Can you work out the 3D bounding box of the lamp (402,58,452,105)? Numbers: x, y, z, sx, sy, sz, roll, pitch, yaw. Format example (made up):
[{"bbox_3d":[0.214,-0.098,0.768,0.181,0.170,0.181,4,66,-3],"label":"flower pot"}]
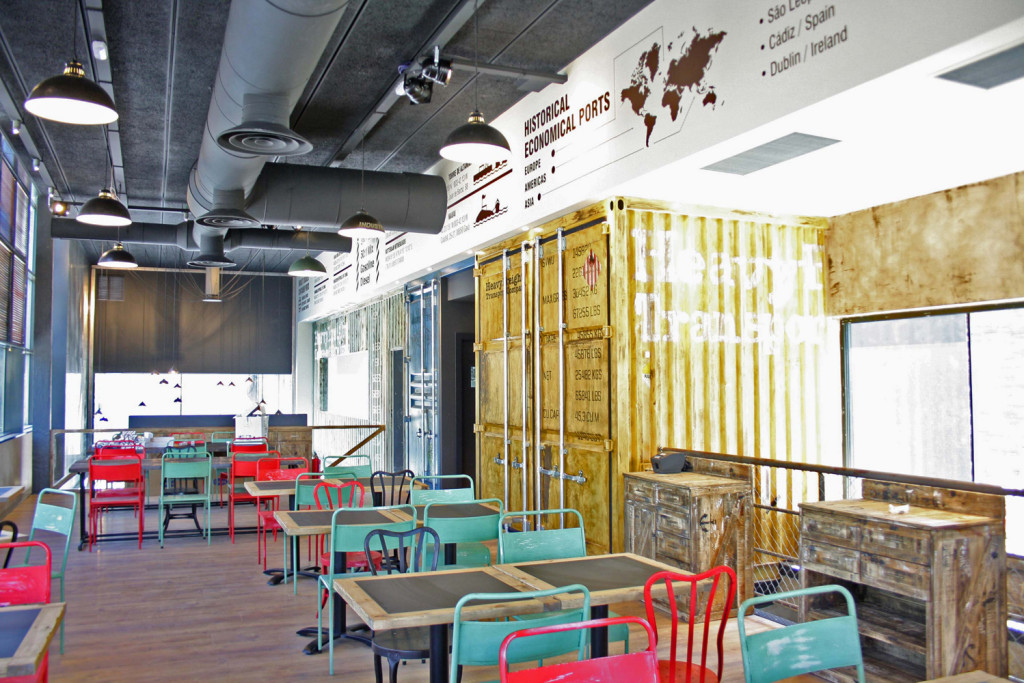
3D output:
[{"bbox_3d":[-0.852,-2.740,7.125,0.463,0.200,0.372,3,-8,-5],"label":"lamp"}]

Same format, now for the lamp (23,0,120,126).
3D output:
[{"bbox_3d":[-3.203,-1.900,5.087,0.459,0.513,0.450,-3,-6,33],"label":"lamp"}]

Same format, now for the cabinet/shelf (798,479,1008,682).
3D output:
[{"bbox_3d":[2.814,1.693,4.936,0.810,1.474,1.295,4,-12,-12],"label":"cabinet/shelf"}]

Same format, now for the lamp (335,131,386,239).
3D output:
[{"bbox_3d":[-1.922,-1.756,8.924,0.482,1.070,1.798,1,-5,-11],"label":"lamp"}]

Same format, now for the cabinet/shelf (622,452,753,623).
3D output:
[{"bbox_3d":[1.645,1.805,6.714,0.656,0.949,1.066,5,-4,-27],"label":"cabinet/shelf"}]
